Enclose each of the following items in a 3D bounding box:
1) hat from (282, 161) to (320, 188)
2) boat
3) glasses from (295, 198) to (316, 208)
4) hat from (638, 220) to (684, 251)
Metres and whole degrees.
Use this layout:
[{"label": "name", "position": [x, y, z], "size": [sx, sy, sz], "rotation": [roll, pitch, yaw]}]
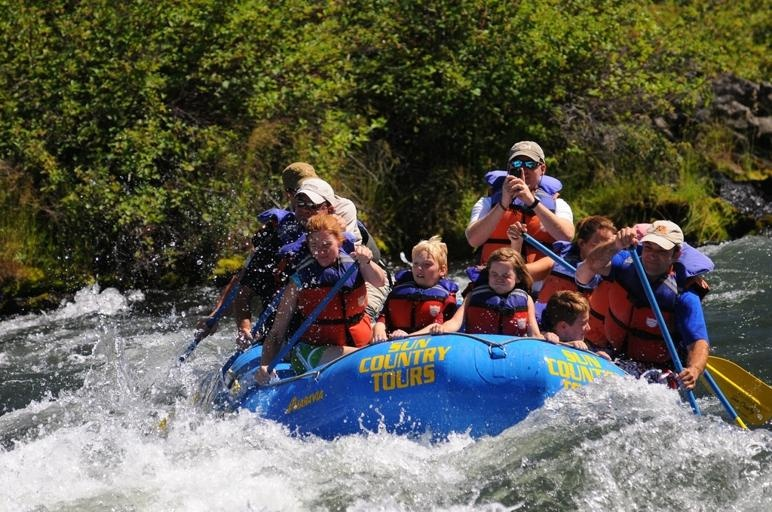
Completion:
[{"label": "hat", "position": [-1.092, -1.002, 12.458], "size": [0.392, 0.226, 0.289], "rotation": [-26, 3, 32]}, {"label": "boat", "position": [0.339, 1.518, 11.261], "size": [2.968, 0.708, 1.792], "rotation": [-6, -10, -4]}, {"label": "glasses", "position": [-0.976, -0.633, 11.963], "size": [0.249, 0.089, 0.060], "rotation": [0, 6, 22]}, {"label": "hat", "position": [3.206, -0.240, 11.495], "size": [0.508, 0.327, 0.309], "rotation": [-1, 6, 7]}]
